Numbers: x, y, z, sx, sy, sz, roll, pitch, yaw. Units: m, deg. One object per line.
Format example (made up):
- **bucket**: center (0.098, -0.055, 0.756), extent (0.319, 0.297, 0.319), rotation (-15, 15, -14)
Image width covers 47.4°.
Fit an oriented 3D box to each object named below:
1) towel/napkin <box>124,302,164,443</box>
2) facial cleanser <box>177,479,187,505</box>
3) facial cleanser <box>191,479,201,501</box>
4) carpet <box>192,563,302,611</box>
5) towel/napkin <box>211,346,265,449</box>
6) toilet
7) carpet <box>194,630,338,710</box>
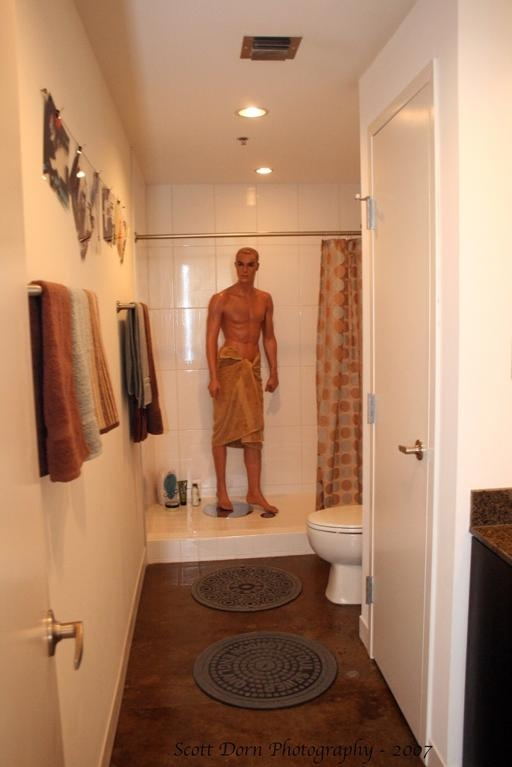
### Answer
- **towel/napkin**: center (-0.521, -0.038, 2.610), extent (0.144, 0.639, 0.461), rotation (-2, 2, -4)
- **facial cleanser**: center (-0.490, 0.729, 3.919), extent (0.062, 0.166, 0.119), rotation (-2, 2, -10)
- **facial cleanser**: center (-0.408, 0.728, 3.920), extent (0.060, 0.152, 0.102), rotation (-2, 2, -6)
- **carpet**: center (-0.050, 1.017, 2.919), extent (0.549, 0.011, 0.534), rotation (-2, 3, 5)
- **towel/napkin**: center (-0.112, 0.115, 3.726), extent (0.291, 0.682, 0.150), rotation (5, -29, -7)
- **toilet**: center (0.383, 0.822, 2.801), extent (0.254, 0.401, 0.376), rotation (-1, 3, 11)
- **carpet**: center (0.035, 1.052, 2.178), extent (0.535, 0.013, 0.515), rotation (-2, 3, 0)
